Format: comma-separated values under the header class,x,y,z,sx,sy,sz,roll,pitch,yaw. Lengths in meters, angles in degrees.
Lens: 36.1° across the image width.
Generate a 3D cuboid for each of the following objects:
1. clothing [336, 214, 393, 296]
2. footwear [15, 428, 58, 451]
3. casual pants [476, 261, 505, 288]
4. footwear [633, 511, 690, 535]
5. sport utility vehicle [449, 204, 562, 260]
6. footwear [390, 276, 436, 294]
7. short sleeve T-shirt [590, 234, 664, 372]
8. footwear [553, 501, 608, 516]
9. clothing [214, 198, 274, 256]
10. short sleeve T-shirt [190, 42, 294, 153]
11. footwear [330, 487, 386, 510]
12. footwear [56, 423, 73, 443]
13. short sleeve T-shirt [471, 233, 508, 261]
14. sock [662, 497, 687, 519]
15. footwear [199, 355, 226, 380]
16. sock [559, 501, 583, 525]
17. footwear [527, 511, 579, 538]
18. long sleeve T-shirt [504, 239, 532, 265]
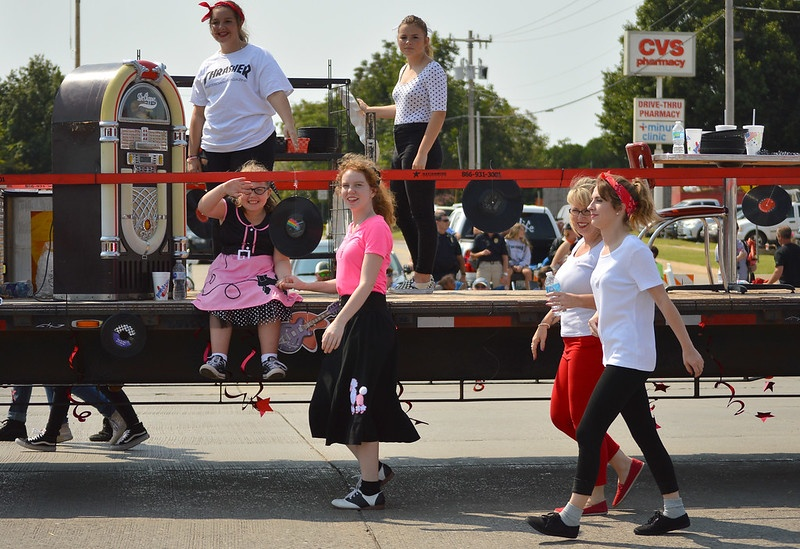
class,x,y,z,sx,sy,sz,roll,pitch,yaw
clothing,-0.347,-0.174,11.195,0.463,0.716,0.749,3,2,-19
footwear,-3.821,1.748,12.982,0.523,0.259,0.186,7,0,2
casual pants,1.356,0.004,18.283,0.412,0.523,0.202,0,-6,-8
footwear,2.270,2.129,10.684,0.534,0.215,0.186,-3,-4,1
sport utility vehicle,2.123,-0.780,22.001,1.060,0.886,1.759,-1,8,-3
footwear,0.119,0.107,12.608,0.467,0.167,0.167,2,-3,12
short sleeve T-shirt,1.913,0.251,10.510,0.617,1.202,1.086,3,-9,-16
footwear,1.662,2.112,11.202,0.542,0.201,0.192,2,-6,-11
clothing,-1.518,-0.353,11.769,0.697,0.765,0.491,0,-5,-12
short sleeve T-shirt,-1.581,-1.706,12.163,1.247,1.055,0.613,2,7,36
footwear,-0.366,2.008,11.110,0.527,0.213,0.184,2,-6,-1
footwear,-3.674,1.712,13.347,0.228,0.241,0.574,0,-8,-11
short sleeve T-shirt,1.337,-0.380,18.641,0.691,0.568,0.386,0,-11,2
sock,2.355,1.994,10.648,0.145,0.180,0.196,-4,-12,-11
footwear,-1.719,0.843,11.234,0.235,0.240,0.229,-1,8,-9
sock,1.471,2.048,10.650,0.232,0.194,0.150,7,2,21
footwear,1.314,2.145,10.556,0.482,0.180,0.186,11,11,-8
long sleeve T-shirt,1.837,-0.341,19.325,0.362,0.348,0.214,3,-33,-14
